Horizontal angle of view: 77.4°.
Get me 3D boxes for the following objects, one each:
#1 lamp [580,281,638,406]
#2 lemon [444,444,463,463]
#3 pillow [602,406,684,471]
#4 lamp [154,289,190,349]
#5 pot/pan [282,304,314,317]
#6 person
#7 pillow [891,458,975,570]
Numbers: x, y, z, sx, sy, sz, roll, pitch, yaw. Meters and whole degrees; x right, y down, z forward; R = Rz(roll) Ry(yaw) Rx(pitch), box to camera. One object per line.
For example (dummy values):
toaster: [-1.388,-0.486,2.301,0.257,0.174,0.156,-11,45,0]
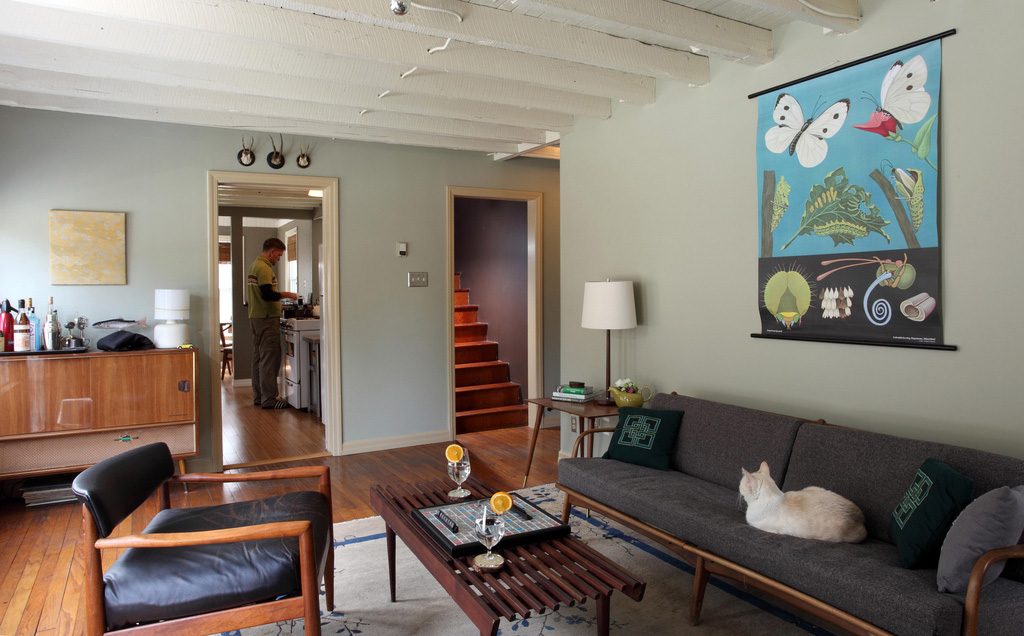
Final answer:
lamp: [0.835,0.167,5.389,0.440,0.958,0.433,1,6,27]
lemon: [-0.344,0.822,3.925,0.102,0.121,0.150,-2,5,-4]
pillow: [0.960,0.851,4.614,0.465,0.418,0.120,3,-31,41]
lamp: [-2.983,-0.006,5.657,0.303,0.502,0.306,-5,6,-28]
pot/pan: [-2.786,-0.094,8.570,0.269,0.113,0.267,0,2,-36]
person: [-3.259,0.074,8.702,0.793,2.045,0.626,0,1,-23]
pillow: [2.166,1.018,3.293,0.213,0.407,0.352,34,38,11]
